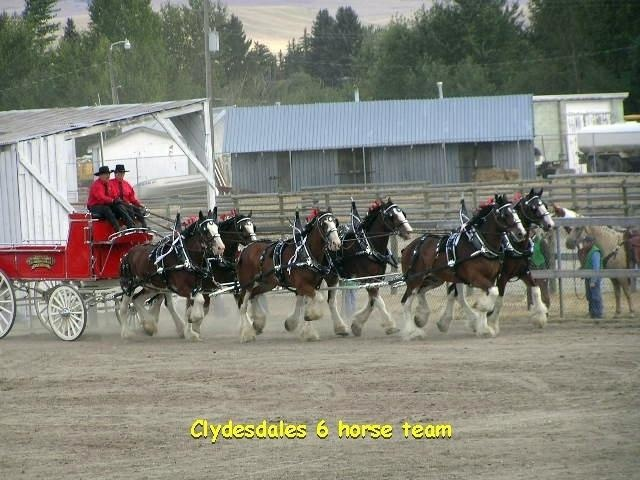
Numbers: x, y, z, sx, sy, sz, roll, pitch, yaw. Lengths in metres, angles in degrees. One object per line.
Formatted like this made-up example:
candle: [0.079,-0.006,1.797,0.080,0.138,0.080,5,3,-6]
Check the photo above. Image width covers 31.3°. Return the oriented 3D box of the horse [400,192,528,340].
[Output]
horse: [3.077,0.742,25.982,1.277,3.066,4.367,1,-5,-32]

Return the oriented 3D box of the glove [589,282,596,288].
glove: [6.475,1.069,26.969,0.131,0.031,0.132,-6,-29,9]

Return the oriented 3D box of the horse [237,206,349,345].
horse: [-0.793,0.957,26.250,1.210,2.912,3.735,4,-10,-45]

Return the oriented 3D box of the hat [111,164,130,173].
hat: [-4.795,-1.712,27.776,0.467,0.196,0.524,0,2,-8]

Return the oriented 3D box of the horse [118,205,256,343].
horse: [-3.279,0.830,26.704,3.065,2.754,1.231,-5,-1,27]

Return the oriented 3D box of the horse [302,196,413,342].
horse: [0.908,0.823,26.874,1.198,3.120,4.242,0,-7,-34]
